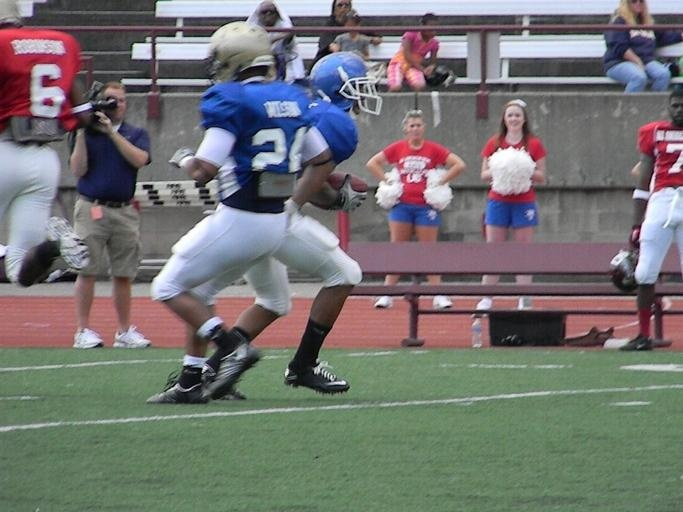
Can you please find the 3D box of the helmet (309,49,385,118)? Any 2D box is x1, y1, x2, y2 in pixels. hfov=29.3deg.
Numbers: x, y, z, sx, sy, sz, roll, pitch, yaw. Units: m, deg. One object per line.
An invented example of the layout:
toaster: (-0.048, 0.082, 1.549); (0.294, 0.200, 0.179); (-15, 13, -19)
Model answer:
helmet: (0.025, -1.138, 8.680); (0.534, 0.376, 0.422); (-1, 11, 0)

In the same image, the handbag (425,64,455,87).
handbag: (1.108, -2.070, 14.838); (0.309, 0.214, 0.254); (-10, 38, 6)

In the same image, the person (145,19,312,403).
person: (-0.653, -0.248, 7.976); (1.004, 2.380, 0.461); (1, 4, -9)

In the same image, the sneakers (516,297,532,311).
sneakers: (1.642, 0.432, 11.596); (0.135, 0.158, 0.150); (3, 4, 20)

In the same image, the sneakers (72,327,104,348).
sneakers: (-2.075, 0.672, 10.503); (0.270, 0.115, 0.126); (-2, -2, 31)

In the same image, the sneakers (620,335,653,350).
sneakers: (2.368, 0.700, 10.392); (0.293, 0.109, 0.100); (1, -4, 4)

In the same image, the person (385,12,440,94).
person: (0.853, -2.205, 14.767); (0.609, 0.682, 0.567); (0, 4, -22)

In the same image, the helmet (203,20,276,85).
helmet: (-0.677, -1.303, 8.054); (0.444, 0.379, 0.326); (-17, 23, -3)

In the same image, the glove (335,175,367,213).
glove: (0.062, -0.412, 8.555); (0.264, 0.213, 0.179); (-1, 4, -23)

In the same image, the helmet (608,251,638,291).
helmet: (2.290, 0.127, 10.357); (0.235, 0.280, 0.288); (15, 11, 43)

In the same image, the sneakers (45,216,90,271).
sneakers: (-1.737, -0.091, 8.413); (0.166, 0.235, 0.364); (-23, 57, -38)

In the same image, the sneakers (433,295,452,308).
sneakers: (0.937, 0.438, 12.147); (0.111, 0.090, 0.200); (0, -5, -17)

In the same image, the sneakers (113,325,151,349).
sneakers: (-1.742, 0.672, 10.565); (0.372, 0.183, 0.136); (1, 2, 4)

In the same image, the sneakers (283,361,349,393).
sneakers: (-0.168, 0.794, 8.444); (0.503, 0.210, 0.170); (5, -4, 5)

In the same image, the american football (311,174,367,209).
american football: (-0.004, -0.421, 8.553); (0.483, 0.154, 0.210); (-3, 10, -2)
